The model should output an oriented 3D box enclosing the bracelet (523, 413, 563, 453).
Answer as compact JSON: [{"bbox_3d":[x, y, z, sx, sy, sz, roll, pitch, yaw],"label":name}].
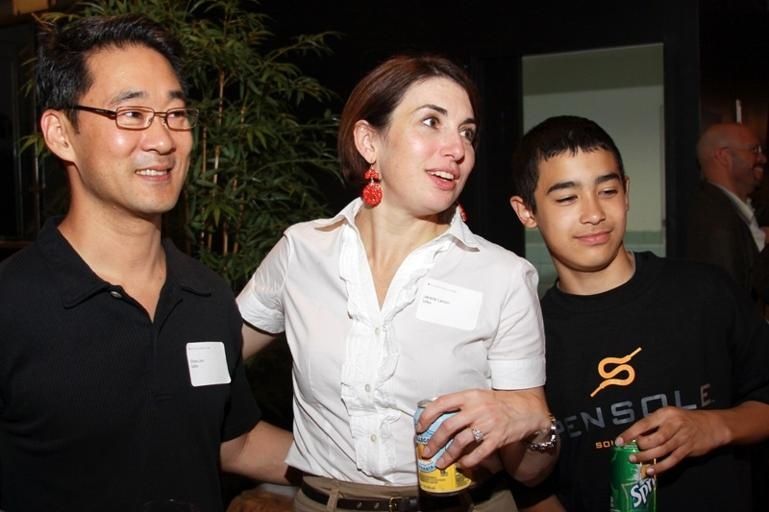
[{"bbox_3d":[0.591,0.667,2.110,0.054,0.152,0.119,25,-20,-4],"label":"bracelet"}]
